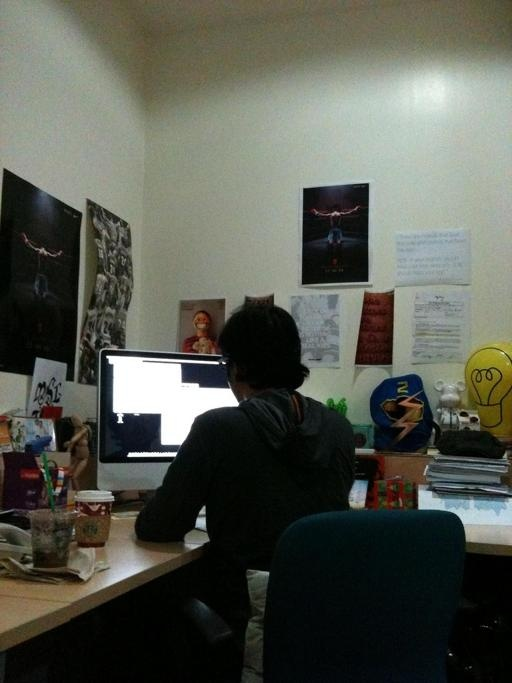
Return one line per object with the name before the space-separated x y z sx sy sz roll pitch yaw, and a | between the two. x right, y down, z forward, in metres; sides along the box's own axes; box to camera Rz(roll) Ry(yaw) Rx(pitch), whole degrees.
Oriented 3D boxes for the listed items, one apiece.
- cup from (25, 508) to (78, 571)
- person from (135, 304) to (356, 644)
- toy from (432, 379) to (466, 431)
cup | -0.324 0.317 0.898 0.082 0.090 0.077 0 -9 0
person | -0.013 0.340 1.175 0.437 0.793 0.401 0 -1 44
toy | 0.723 0.241 2.088 0.111 0.192 0.092 1 -9 14
